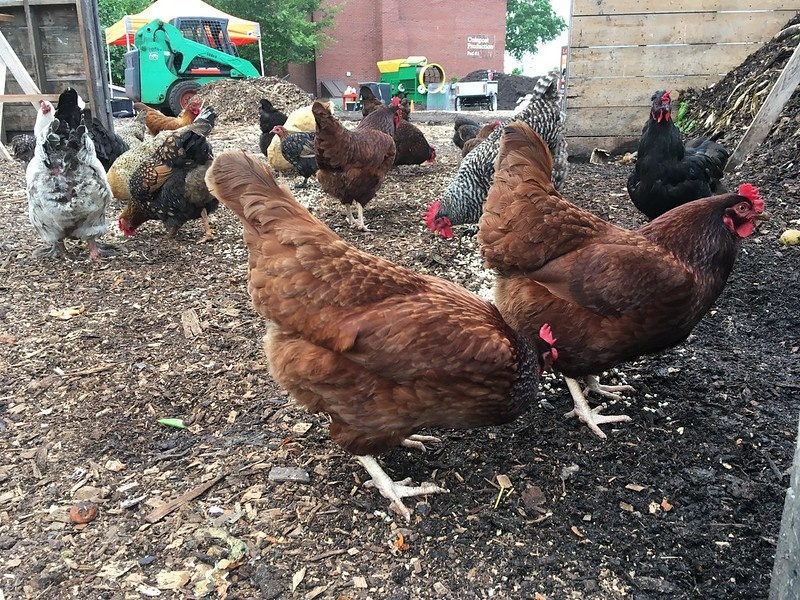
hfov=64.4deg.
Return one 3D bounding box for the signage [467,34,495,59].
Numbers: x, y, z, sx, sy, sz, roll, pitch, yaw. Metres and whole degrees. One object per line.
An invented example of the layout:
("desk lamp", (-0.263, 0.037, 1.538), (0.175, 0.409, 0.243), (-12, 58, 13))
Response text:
("signage", (4.377, -14.192, 35.325), (2.031, 0.997, 0.225), (-2, 10, -7))
